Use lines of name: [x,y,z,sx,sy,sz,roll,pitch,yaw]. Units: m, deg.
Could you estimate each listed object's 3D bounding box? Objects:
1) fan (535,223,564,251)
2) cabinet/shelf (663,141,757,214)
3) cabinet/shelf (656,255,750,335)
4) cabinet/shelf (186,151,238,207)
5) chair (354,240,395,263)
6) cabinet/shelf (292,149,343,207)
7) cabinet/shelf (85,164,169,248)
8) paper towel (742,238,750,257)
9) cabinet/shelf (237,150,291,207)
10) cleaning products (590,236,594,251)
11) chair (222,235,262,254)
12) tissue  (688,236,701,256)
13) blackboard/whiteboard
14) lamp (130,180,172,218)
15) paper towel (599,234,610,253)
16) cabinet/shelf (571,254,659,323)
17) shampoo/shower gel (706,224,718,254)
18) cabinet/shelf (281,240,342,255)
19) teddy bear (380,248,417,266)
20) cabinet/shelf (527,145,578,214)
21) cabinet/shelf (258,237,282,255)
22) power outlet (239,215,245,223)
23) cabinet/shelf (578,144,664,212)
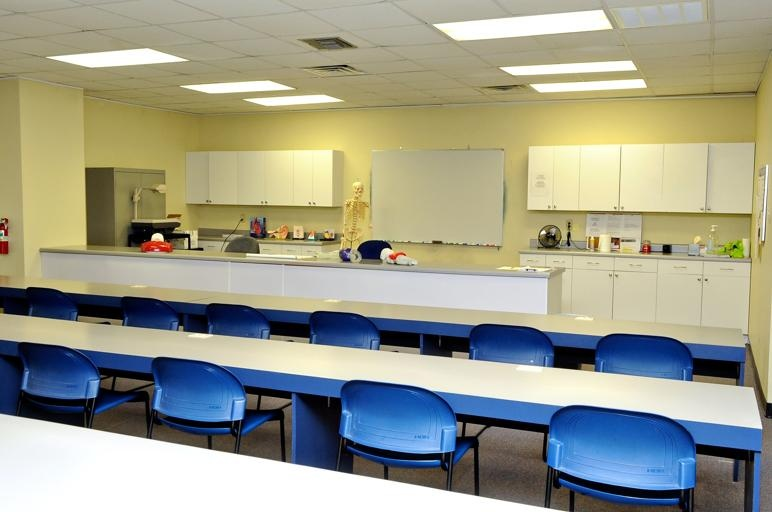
fan: [2.544,-0.302,8.721,0.395,0.341,0.105,-8,0,-1]
cabinet/shelf: [4.438,-1.083,8.027,1.262,0.962,0.418,1,2,0]
cabinet/shelf: [4.211,0.481,7.408,1.231,1.009,0.570,1,0,25]
cabinet/shelf: [-3.424,-1.474,10.550,0.473,0.988,1.261,11,13,32]
chair: [-0.179,-0.086,8.385,0.368,0.414,0.356,0,-2,-6]
cabinet/shelf: [-1.193,-1.376,9.816,1.056,1.036,0.434,3,7,21]
cabinet/shelf: [-4.104,-0.765,8.902,0.495,1.276,1.486,2,3,25]
paper towel: [4.890,-0.114,7.699,0.092,0.244,0.158,4,8,31]
cabinet/shelf: [-2.317,-1.411,10.223,0.467,0.980,1.266,11,13,42]
cleaning products: [3.143,-0.208,8.652,0.104,0.191,0.062,2,8,14]
chair: [-2.111,-0.174,8.375,0.364,0.406,0.358,0,-7,-2]
tissue : [4.414,-0.161,8.099,0.164,0.256,0.413,4,8,29]
blackboard/whiteboard: [0.825,-0.988,9.350,2.456,1.542,0.056,5,12,32]
lamp: [-3.731,-0.895,9.234,0.407,0.493,0.552,-5,3,28]
paper towel: [3.295,-0.196,8.513,0.167,0.251,0.271,0,-2,-4]
cabinet/shelf: [3.302,0.431,8.005,1.085,0.872,0.405,1,1,23]
shampoo/shower gel: [4.680,-0.259,8.116,0.162,0.393,0.161,4,8,25]
cabinet/shelf: [-1.296,-0.158,9.767,0.885,0.226,0.433,-1,7,-11]
teddy bear: [0.164,0.000,6.720,0.422,0.168,0.323,0,7,0]
cabinet/shelf: [2.533,-1.188,8.565,1.062,1.130,0.473,2,7,22]
cabinet/shelf: [-2.013,-0.167,9.982,0.497,0.277,0.269,4,10,18]
power outlet: [-2.675,-0.699,10.597,0.110,0.095,0.148,4,10,8]
cabinet/shelf: [3.457,-1.161,8.225,1.116,0.846,0.414,2,4,29]
